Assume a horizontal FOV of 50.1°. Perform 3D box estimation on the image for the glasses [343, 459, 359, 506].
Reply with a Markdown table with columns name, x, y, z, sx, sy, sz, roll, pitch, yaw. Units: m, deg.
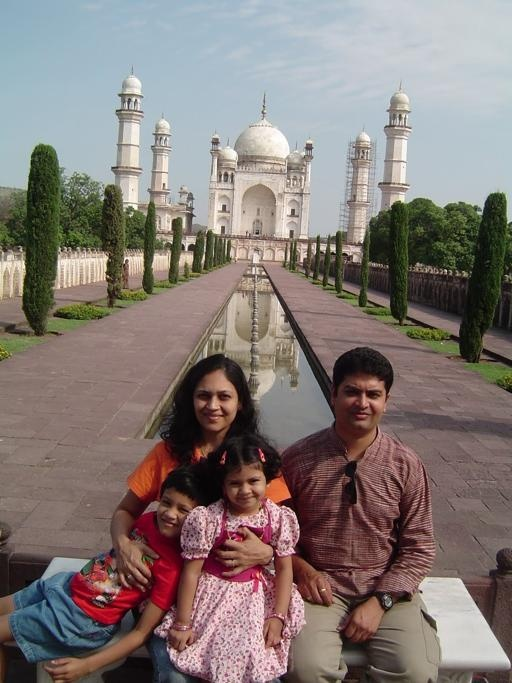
| name | x | y | z | sx | sy | sz | roll | pitch | yaw |
| --- | --- | --- | --- | --- | --- | --- | --- | --- | --- |
| glasses | 0.224 | 0.335 | 1.302 | 0.029 | 0.100 | 0.037 | 2 | 8 | -9 |

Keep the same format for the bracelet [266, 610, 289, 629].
| name | x | y | z | sx | sy | sz | roll | pitch | yaw |
| --- | --- | --- | --- | --- | --- | --- | --- | --- | --- |
| bracelet | 0.047 | 0.566 | 1.126 | 0.029 | 0.020 | 0.037 | 2 | 2 | -7 |

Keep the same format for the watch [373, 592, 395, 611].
| name | x | y | z | sx | sy | sz | roll | pitch | yaw |
| --- | --- | --- | --- | --- | --- | --- | --- | --- | --- |
| watch | 0.289 | 0.583 | 1.237 | 0.029 | 0.045 | 0.043 | -19 | 18 | -26 |

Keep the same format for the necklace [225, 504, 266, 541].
| name | x | y | z | sx | sy | sz | roll | pitch | yaw |
| --- | --- | --- | --- | --- | --- | --- | --- | --- | --- |
| necklace | -0.026 | 0.388 | 1.169 | 0.079 | 0.023 | 0.059 | 19 | 29 | 7 |

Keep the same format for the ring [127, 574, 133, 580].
| name | x | y | z | sx | sy | sz | roll | pitch | yaw |
| --- | --- | --- | --- | --- | --- | --- | --- | --- | --- |
| ring | -0.275 | 0.512 | 1.189 | 0.010 | 0.014 | 0.005 | -5 | 3 | 0 |

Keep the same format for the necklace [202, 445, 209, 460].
| name | x | y | z | sx | sy | sz | roll | pitch | yaw |
| --- | --- | --- | --- | --- | --- | --- | --- | --- | --- |
| necklace | -0.129 | 0.286 | 1.412 | 0.025 | 0.034 | 0.009 | 5 | -19 | -44 |

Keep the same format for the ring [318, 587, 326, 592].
| name | x | y | z | sx | sy | sz | roll | pitch | yaw |
| --- | --- | --- | --- | --- | --- | --- | --- | --- | --- |
| ring | 0.150 | 0.566 | 1.253 | 0.011 | 0.003 | 0.011 | -3 | 2 | 0 |
